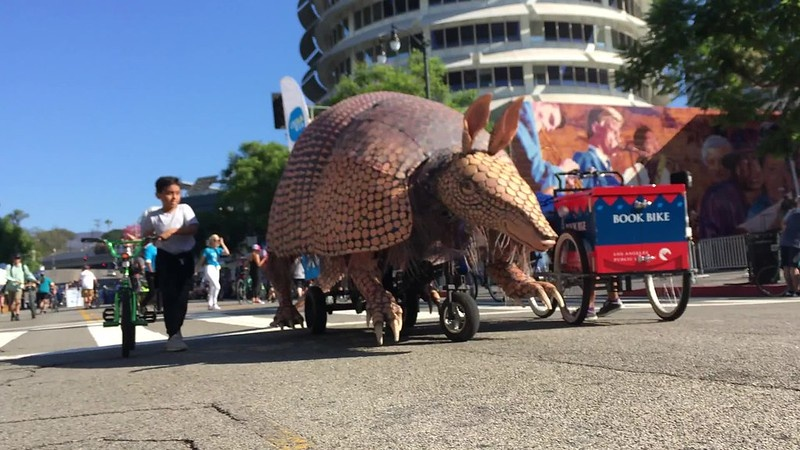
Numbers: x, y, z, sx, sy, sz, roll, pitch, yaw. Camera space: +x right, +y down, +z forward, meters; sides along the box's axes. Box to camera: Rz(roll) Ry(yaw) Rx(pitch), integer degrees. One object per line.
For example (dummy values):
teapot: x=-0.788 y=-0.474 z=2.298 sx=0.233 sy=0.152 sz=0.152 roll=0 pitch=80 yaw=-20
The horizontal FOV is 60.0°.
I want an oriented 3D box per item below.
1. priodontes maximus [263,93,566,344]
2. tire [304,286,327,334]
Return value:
priodontes maximus: x=0.030 y=-0.166 z=13.014 sx=3.240 sy=3.734 sz=5.919 roll=1 pitch=-5 yaw=-43
tire: x=-1.682 y=1.695 z=13.841 sx=0.310 sy=0.908 sz=0.898 roll=-2 pitch=-8 yaw=-23
